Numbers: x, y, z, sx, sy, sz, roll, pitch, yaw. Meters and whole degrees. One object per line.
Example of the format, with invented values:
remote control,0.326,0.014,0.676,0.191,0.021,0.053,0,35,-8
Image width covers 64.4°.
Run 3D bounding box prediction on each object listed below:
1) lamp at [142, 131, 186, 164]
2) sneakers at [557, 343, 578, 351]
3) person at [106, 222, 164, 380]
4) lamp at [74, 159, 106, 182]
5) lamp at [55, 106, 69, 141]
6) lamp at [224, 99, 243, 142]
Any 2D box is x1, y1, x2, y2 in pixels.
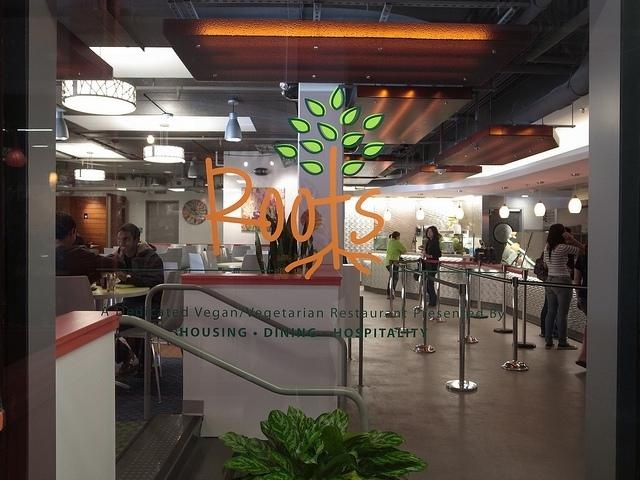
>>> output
lamp,-1.145,-0.659,3.709,0.287,0.207,0.229,1,0,-17
sneakers,2.748,1.197,5.698,0.236,0.092,0.080,0,-7,3
person,-1.282,0.332,3.614,0.370,0.817,0.390,10,10,39
lamp,-1.536,-0.448,3.368,0.143,0.134,0.143,-1,-6,-2
lamp,-1.825,-0.812,3.592,0.070,0.251,0.147,1,0,-23
lamp,-0.633,-0.872,3.696,0.127,0.287,0.124,-3,10,-18
